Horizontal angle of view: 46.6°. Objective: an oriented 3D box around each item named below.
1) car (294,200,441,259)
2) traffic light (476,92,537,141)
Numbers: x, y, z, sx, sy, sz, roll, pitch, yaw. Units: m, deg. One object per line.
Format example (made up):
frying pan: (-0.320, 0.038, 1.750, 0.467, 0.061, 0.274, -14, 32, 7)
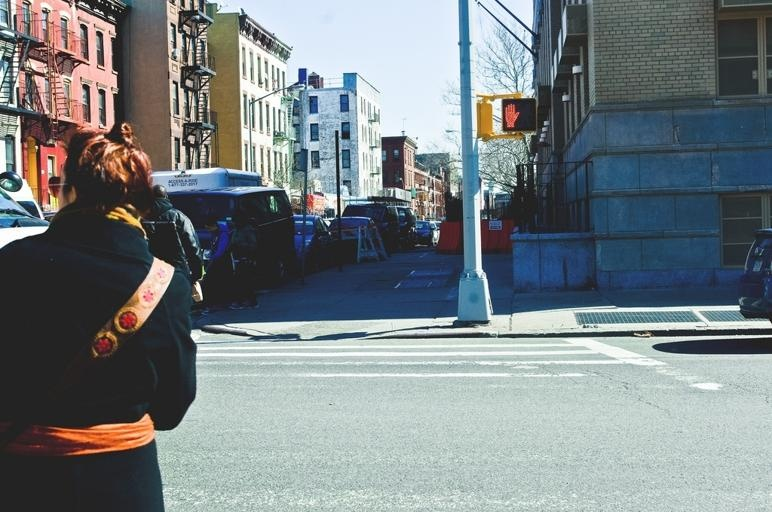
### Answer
car: (-0.616, -1.233, 39.989, 2.480, 2.330, 8.683, -3, -1, 12)
traffic light: (1.928, -2.294, 14.668, 0.970, 0.740, 0.733, -1, 5, 4)
